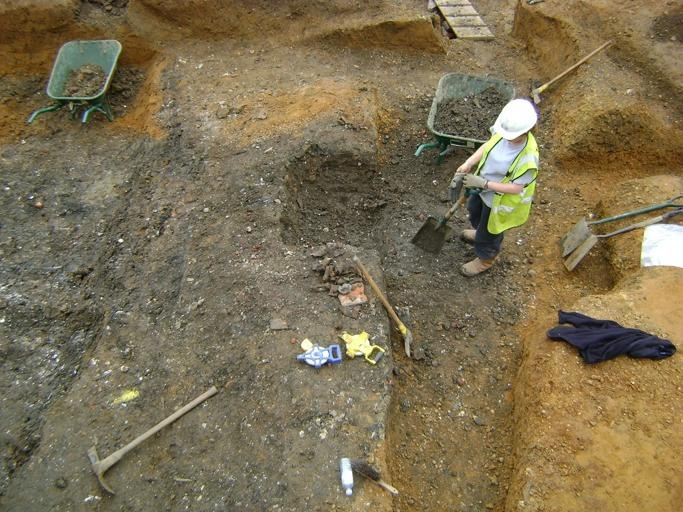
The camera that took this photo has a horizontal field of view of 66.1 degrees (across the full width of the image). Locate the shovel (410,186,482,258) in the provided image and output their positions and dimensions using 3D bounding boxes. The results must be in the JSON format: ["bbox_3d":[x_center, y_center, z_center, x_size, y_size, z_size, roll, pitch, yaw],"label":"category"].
[{"bbox_3d":[1.389,-0.515,6.913,0.437,1.155,0.118,26,28,-16],"label":"shovel"}]

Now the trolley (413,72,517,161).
[{"bbox_3d":[1.833,-1.830,7.851,1.411,1.429,1.308,8,32,9],"label":"trolley"}]

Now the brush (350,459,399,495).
[{"bbox_3d":[0.336,2.275,5.429,0.154,0.172,0.705,-14,22,-39],"label":"brush"}]

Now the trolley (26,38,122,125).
[{"bbox_3d":[-4.083,-2.877,8.263,0.912,0.787,1.779,5,69,0],"label":"trolley"}]

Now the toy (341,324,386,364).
[{"bbox_3d":[0.228,1.027,5.983,0.543,0.086,0.329,18,65,0],"label":"toy"}]

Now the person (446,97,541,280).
[{"bbox_3d":[1.863,-0.770,6.545,0.937,2.568,1.002,-8,49,-7],"label":"person"}]
